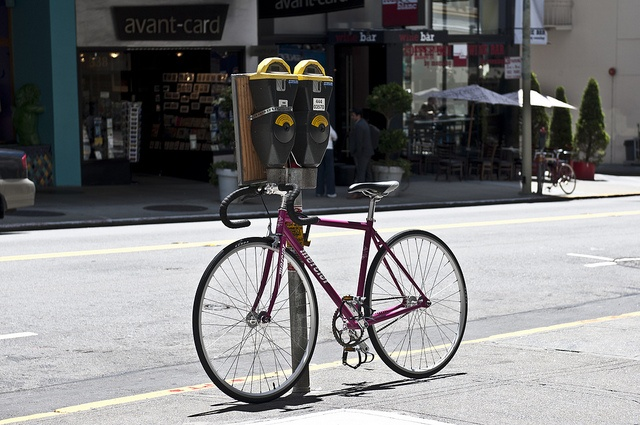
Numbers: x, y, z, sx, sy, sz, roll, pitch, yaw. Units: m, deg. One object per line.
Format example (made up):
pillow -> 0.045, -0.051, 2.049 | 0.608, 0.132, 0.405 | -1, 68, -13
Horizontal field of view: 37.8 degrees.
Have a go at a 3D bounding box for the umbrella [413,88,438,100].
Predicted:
umbrella -> 3.782, -4.098, 32.456 | 1.027, 0.403, 0.504 | -3, 7, -29

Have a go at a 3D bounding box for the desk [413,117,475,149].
desk -> 4.407, -3.105, 33.215 | 1.574, 0.784, 1.221 | -11, 7, 22

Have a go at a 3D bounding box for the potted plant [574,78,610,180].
potted plant -> 9.222, -2.804, 31.731 | 1.052, 3.404, 0.817 | 3, 6, 16

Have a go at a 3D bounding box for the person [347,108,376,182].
person -> 1.162, -1.784, 25.535 | 0.626, 2.035, 1.091 | 1, 6, 3

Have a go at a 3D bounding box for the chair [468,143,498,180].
chair -> 5.434, -1.578, 31.017 | 0.982, 1.457, 0.956 | -2, -13, 35

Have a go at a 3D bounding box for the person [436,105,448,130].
person -> 4.330, -3.311, 33.017 | 0.161, 0.826, 0.457 | 4, 0, 7

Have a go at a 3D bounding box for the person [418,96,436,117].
person -> 3.711, -3.694, 32.664 | 0.337, 1.084, 0.318 | 10, 28, 10

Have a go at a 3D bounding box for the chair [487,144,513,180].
chair -> 6.384, -1.662, 31.791 | 0.691, 1.111, 0.732 | 2, 0, 21
